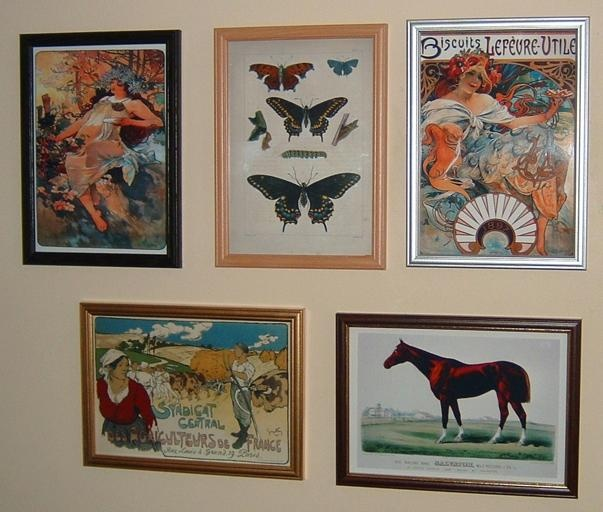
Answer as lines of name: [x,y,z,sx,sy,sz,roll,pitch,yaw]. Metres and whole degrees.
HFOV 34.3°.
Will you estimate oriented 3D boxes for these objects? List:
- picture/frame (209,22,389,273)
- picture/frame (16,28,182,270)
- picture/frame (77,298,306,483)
picture/frame: [-0.003,-0.305,2.754,0.486,0.680,0.034,-1,1,4]
picture/frame: [-0.583,-0.321,2.804,0.460,0.677,0.029,-1,-11,-6]
picture/frame: [-0.316,0.385,2.803,0.640,0.503,0.018,-1,1,5]
